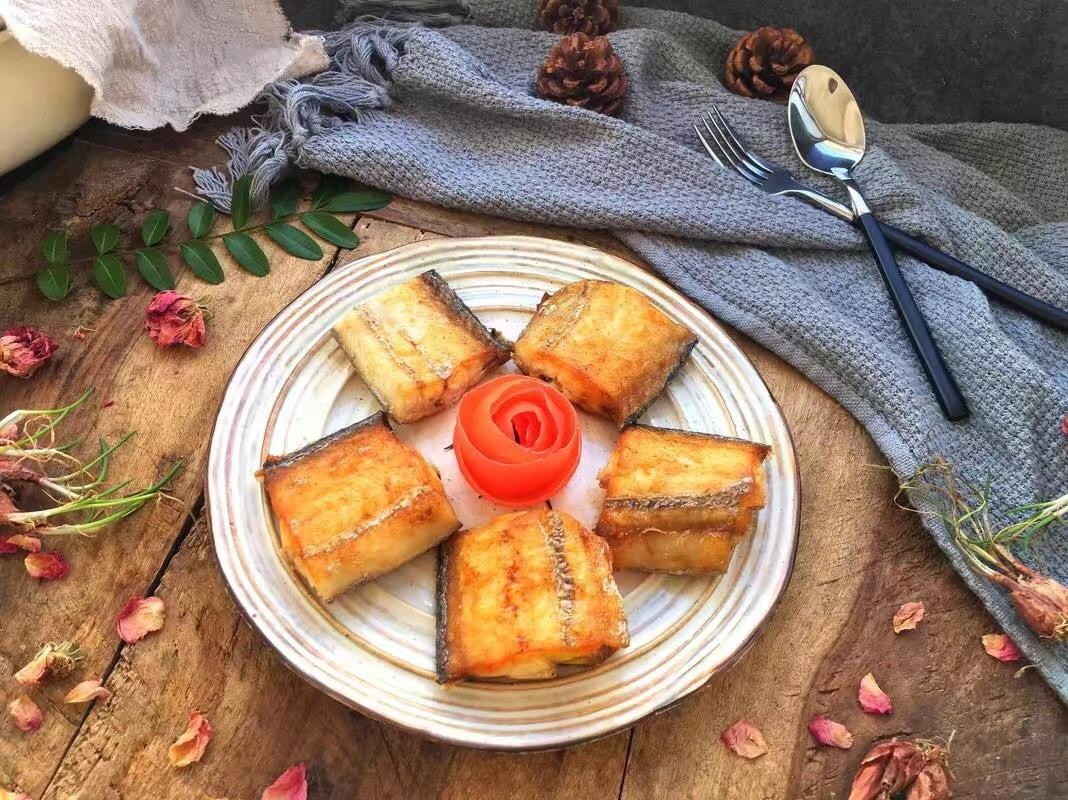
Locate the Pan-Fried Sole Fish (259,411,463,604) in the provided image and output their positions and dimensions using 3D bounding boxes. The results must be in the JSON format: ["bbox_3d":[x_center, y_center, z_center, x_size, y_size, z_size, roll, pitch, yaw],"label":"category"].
[{"bbox_3d":[-0.218,0.124,1.203,0.198,0.062,0.188,-25,79,-6],"label":"Pan-Fried Sole Fish"}]

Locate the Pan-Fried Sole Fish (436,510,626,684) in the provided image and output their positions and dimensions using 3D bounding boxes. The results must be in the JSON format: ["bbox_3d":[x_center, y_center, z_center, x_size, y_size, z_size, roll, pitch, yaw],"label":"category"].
[{"bbox_3d":[0.000,0.238,1.160,0.211,0.069,0.203,-2,69,2],"label":"Pan-Fried Sole Fish"}]

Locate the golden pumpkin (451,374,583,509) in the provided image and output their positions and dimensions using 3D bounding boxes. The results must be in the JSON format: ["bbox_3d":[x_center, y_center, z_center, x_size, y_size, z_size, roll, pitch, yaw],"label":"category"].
[{"bbox_3d":[-0.019,0.027,1.318,0.170,0.156,0.200,-19,31,-34],"label":"golden pumpkin"}]

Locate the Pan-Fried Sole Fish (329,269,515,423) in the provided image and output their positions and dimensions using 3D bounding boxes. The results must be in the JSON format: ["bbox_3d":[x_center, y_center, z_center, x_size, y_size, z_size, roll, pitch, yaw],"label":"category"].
[{"bbox_3d":[-0.163,-0.086,1.348,0.236,0.072,0.252,-3,45,-27],"label":"Pan-Fried Sole Fish"}]

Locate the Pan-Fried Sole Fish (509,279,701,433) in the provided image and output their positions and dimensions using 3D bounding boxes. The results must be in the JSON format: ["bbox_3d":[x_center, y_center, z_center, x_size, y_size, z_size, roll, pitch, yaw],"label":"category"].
[{"bbox_3d":[0.106,-0.068,1.313,0.211,0.064,0.212,40,74,10],"label":"Pan-Fried Sole Fish"}]
